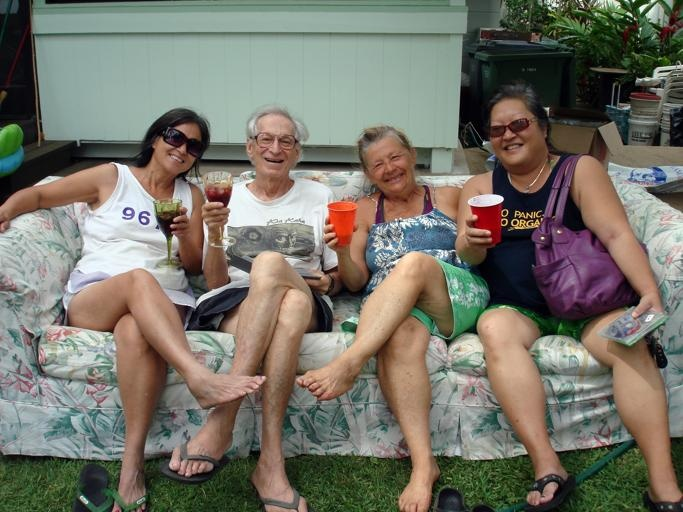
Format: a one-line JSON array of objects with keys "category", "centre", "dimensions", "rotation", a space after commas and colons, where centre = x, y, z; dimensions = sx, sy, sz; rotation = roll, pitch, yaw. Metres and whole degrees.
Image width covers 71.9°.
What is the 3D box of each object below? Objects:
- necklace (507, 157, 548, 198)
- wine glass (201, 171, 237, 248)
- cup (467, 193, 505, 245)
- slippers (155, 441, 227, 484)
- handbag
[{"category": "necklace", "centre": [0.988, -0.398, 2.417], "dimensions": [0.132, 0.176, 0.045], "rotation": [22, 3, 33]}, {"category": "wine glass", "centre": [-0.553, -0.212, 2.206], "dimensions": [0.136, 0.317, 0.132], "rotation": [-14, 26, -39]}, {"category": "cup", "centre": [0.677, -0.163, 2.119], "dimensions": [0.228, 0.224, 0.128], "rotation": [-14, 19, -35]}, {"category": "slippers", "centre": [-0.578, 0.819, 1.856], "dimensions": [0.250, 0.139, 0.091], "rotation": [-7, 16, -16]}, {"category": "handbag", "centre": [1.112, 0.065, 2.121], "dimensions": [0.413, 0.405, 0.221], "rotation": [-5, -30, -21]}]
